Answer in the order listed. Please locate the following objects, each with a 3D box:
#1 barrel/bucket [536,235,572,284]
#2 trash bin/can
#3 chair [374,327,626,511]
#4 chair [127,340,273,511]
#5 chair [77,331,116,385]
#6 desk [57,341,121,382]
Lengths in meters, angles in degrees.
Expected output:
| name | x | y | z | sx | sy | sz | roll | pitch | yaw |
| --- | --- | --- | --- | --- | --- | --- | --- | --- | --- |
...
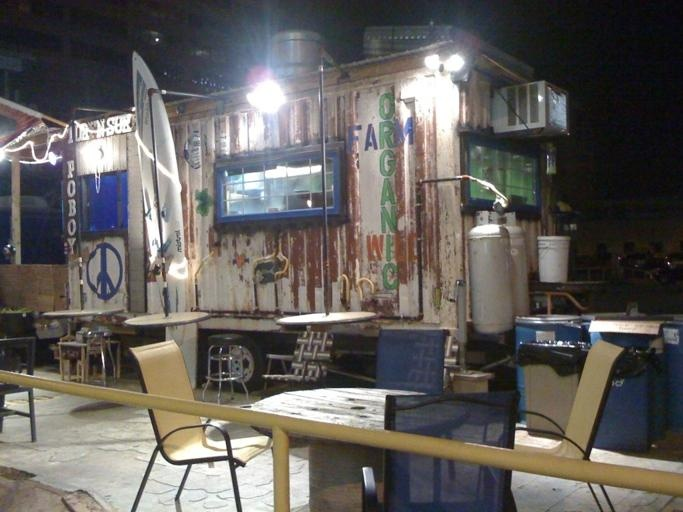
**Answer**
| name | x | y | z | sx | sy | sz | roll | pitch | yaw |
| --- | --- | --- | --- | --- | --- | --- | --- | --- | --- |
| barrel/bucket | 3.411 | 0.051 | 11.595 | 0.561 | 0.946 | 0.764 | -2 | -2 | 13 |
| trash bin/can | 2.877 | 1.654 | 8.543 | 1.402 | 1.166 | 0.868 | 1 | 3 | 44 |
| chair | 1.678 | 1.692 | 7.425 | 1.860 | 2.815 | 1.497 | 2 | -5 | 1 |
| chair | -1.444 | 1.839 | 8.427 | 1.614 | 2.476 | 1.547 | -2 | -6 | 13 |
| chair | -4.448 | 1.827 | 13.394 | 0.599 | 0.972 | 1.927 | -2 | 1 | -18 |
| desk | -4.643 | 1.955 | 13.590 | 0.980 | 0.807 | 0.985 | 0 | 0 | -43 |
